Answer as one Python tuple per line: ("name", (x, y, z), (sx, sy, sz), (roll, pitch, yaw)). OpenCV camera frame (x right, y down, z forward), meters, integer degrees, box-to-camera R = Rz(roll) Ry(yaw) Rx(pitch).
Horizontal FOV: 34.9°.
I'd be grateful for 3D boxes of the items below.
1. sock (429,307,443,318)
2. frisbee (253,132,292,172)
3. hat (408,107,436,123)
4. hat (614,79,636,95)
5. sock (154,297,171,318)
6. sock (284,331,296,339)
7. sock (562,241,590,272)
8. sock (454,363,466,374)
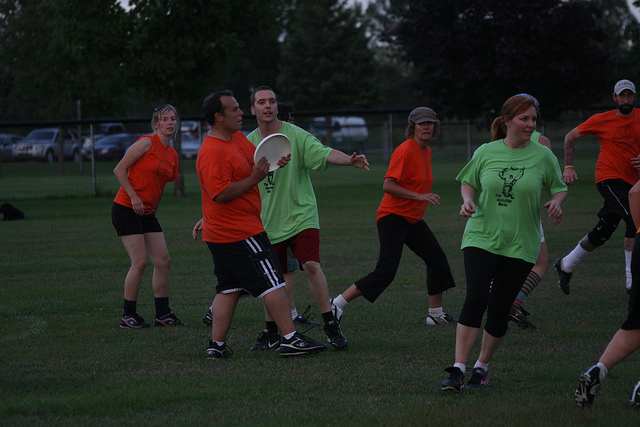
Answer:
("sock", (1.941, 1.629, 17.095), (0.167, 0.125, 0.169), (-1, 1, 10))
("frisbee", (-0.736, -0.981, 15.964), (0.576, 0.571, 0.115), (-44, 45, -13))
("hat", (1.694, -1.605, 16.753), (0.433, 0.239, 0.296), (2, 7, 4))
("hat", (5.426, -2.214, 18.069), (0.362, 0.243, 0.315), (4, 8, 16))
("sock", (-2.661, 1.546, 17.197), (0.237, 0.330, 0.202), (0, 7, -14))
("sock", (-0.474, 1.877, 15.896), (0.155, 0.096, 0.032), (1, 7, -3))
("sock", (4.585, 0.796, 18.360), (0.245, 0.739, 0.262), (43, -10, -13))
("sock", (2.053, 2.235, 14.922), (0.132, 0.141, 0.134), (1, 5, 31))
